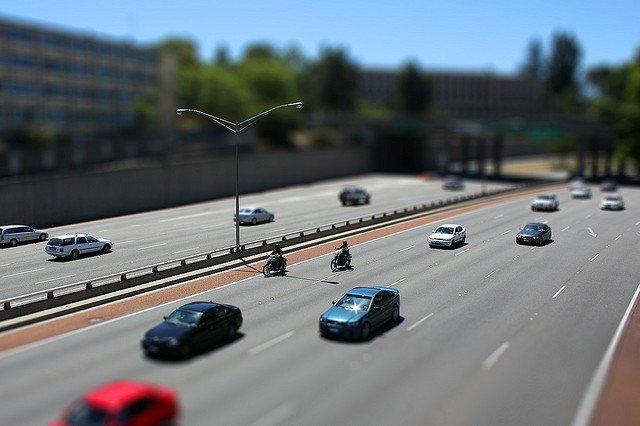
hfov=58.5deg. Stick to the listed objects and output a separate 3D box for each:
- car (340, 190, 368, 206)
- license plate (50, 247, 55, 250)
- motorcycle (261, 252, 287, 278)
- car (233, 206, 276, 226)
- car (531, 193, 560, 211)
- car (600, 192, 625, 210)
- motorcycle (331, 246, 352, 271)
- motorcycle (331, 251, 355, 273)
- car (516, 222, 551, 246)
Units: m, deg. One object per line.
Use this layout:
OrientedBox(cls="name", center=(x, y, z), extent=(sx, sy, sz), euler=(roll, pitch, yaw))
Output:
OrientedBox(cls="car", center=(4.322, -1.938, 70.993), extent=(1.654, 1.405, 3.007), euler=(4, 11, 34))
OrientedBox(cls="license plate", center=(-19.720, 2.586, 42.097), extent=(0.185, 0.182, 0.049), euler=(7, -8, -13))
OrientedBox(cls="motorcycle", center=(-3.032, 3.324, 38.005), extent=(1.705, 1.489, 2.268), euler=(-2, 12, -7))
OrientedBox(cls="car", center=(-6.342, 0.202, 56.276), extent=(1.703, 1.277, 3.811), euler=(5, 10, 38))
OrientedBox(cls="car", center=(26.834, -1.358, 67.012), extent=(1.807, 1.526, 4.464), euler=(1, 5, 36))
OrientedBox(cls="car", center=(36.903, -1.485, 71.564), extent=(2.137, 1.930, 5.228), euler=(-1, 5, 40))
OrientedBox(cls="motorcycle", center=(1.364, 3.171, 38.815), extent=(0.839, 1.166, 1.791), euler=(0, 0, 26))
OrientedBox(cls="motorcycle", center=(1.699, 3.306, 39.290), extent=(0.875, 1.129, 1.844), euler=(-1, -2, 32))
OrientedBox(cls="car", center=(17.666, 1.713, 46.945), extent=(3.071, 1.461, 1.733), euler=(-11, 16, -41))
